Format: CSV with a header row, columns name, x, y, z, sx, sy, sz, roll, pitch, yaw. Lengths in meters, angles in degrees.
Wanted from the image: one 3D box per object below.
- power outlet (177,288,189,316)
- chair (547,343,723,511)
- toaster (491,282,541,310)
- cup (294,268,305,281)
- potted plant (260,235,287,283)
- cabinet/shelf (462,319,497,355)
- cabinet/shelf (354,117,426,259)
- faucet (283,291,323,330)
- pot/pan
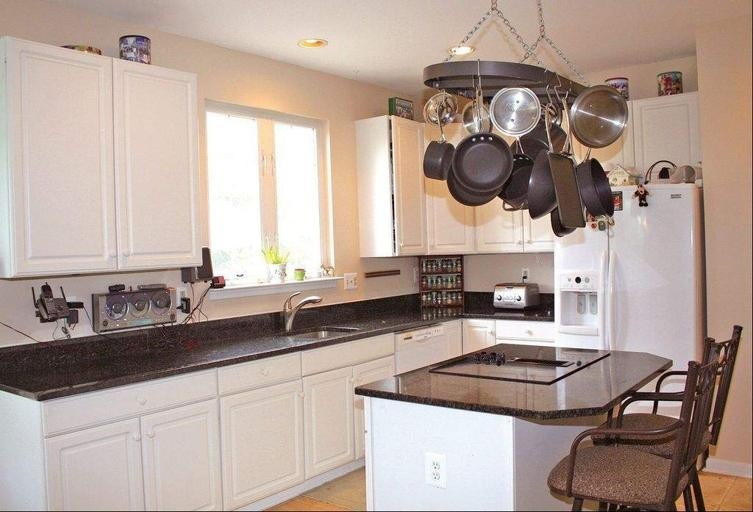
name,x,y,z,sx,sy,sz,roll,pitch,yaw
power outlet,-1.423,0.339,4.064,0.090,0.200,0.097,-4,4,-12
chair,1.387,1.063,2.949,0.723,1.100,1.009,-1,5,35
toaster,1.377,0.336,5.473,0.371,0.249,0.282,-1,-1,37
cup,-0.664,0.165,4.757,0.092,0.087,0.091,0,4,0
potted plant,-0.835,0.022,4.706,0.279,0.393,0.222,-7,5,-37
cabinet/shelf,0.946,0.769,5.397,0.341,0.471,0.322,-1,-2,32
cabinet/shelf,0.149,-0.656,5.297,0.717,1.324,0.368,-4,4,-4
faucet,-0.599,0.460,4.541,0.375,0.287,0.092,-8,2,21
pot/pan,0.781,-0.527,2.815,1.166,0.810,0.417,-6,-11,3
